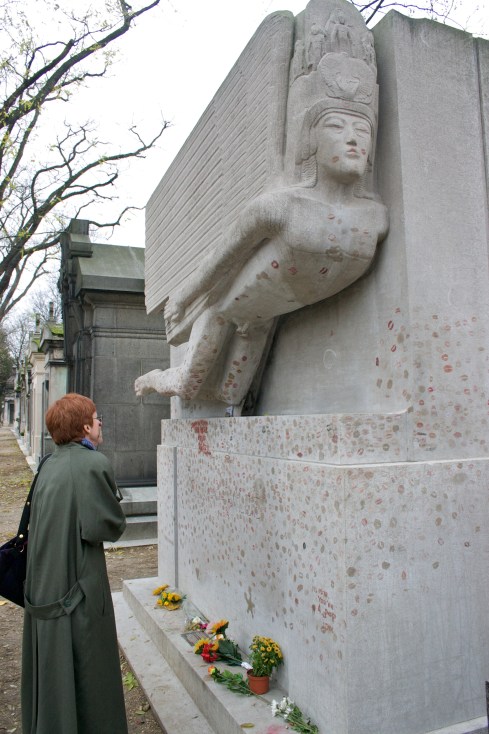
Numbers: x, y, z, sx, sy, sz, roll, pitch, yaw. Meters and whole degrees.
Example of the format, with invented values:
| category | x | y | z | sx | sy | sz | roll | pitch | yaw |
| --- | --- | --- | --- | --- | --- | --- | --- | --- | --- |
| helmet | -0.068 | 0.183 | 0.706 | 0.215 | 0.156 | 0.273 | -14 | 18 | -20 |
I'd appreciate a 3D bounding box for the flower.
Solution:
| category | x | y | z | sx | sy | sz | roll | pitch | yaw |
| --- | --- | --- | --- | --- | --- | --- | --- | --- | --- |
| flower | -0.052 | 1.373 | 3.032 | 0.246 | 0.215 | 1.099 | -12 | -10 | -20 |
